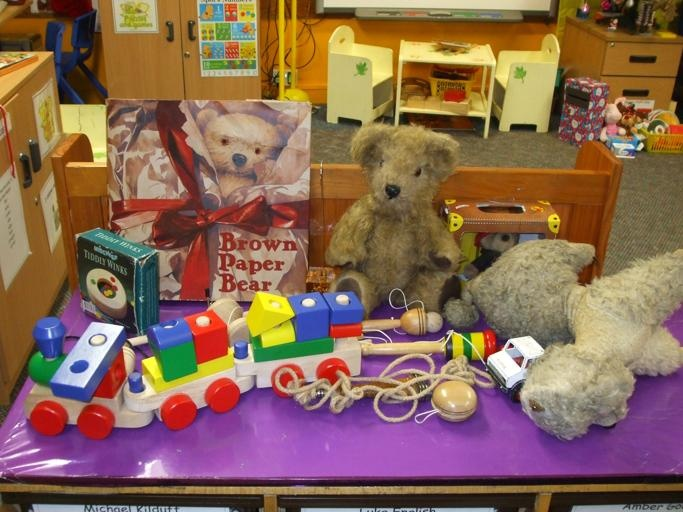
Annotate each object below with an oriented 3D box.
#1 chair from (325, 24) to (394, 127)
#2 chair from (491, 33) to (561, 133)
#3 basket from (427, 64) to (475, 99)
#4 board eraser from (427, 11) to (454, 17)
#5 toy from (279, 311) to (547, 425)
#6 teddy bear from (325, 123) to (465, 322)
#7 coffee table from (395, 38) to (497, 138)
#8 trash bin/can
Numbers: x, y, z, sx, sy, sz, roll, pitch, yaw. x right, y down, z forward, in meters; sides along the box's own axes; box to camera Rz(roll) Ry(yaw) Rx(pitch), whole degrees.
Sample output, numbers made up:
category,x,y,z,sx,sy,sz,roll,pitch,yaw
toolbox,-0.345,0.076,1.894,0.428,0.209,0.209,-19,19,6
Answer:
category,x,y,z,sx,sy,sz,roll,pitch,yaw
chair,0.111,-1.458,4.699,0.443,0.689,0.471,6,19,-8
chair,1.545,-1.479,4.773,0.494,0.746,0.585,6,24,10
basket,0.912,-1.472,4.690,0.363,0.191,0.258,10,26,18
board eraser,0.863,-2.153,5.006,0.207,0.053,0.119,1,24,-2
toy,0.177,0.279,1.425,0.492,0.110,0.287,-1,29,-6
teddy bear,0.161,-0.080,1.650,0.463,0.617,0.354,0,32,-1
coffee table,0.885,-1.438,4.776,0.801,0.684,1.135,7,25,12
trash bin/can,1.891,-1.130,4.428,0.257,0.446,0.281,20,46,37
